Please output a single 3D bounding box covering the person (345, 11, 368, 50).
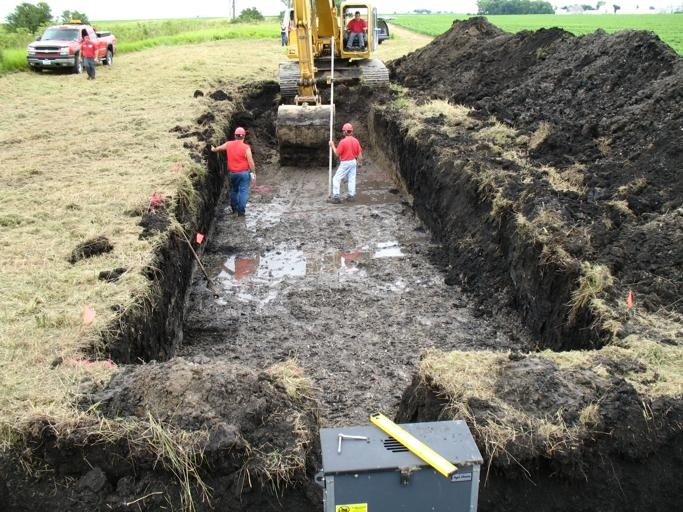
[{"bbox_3d":[0.346,-5.508,13.499,0.487,0.878,0.522,6,18,13],"label":"person"}]

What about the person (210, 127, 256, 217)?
[{"bbox_3d":[-1.861,-1.475,9.752,0.602,1.598,0.493,-6,29,-11],"label":"person"}]

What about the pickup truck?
[{"bbox_3d":[-8.263,-6.350,17.040,1.543,1.297,3.111,2,21,1],"label":"pickup truck"}]
